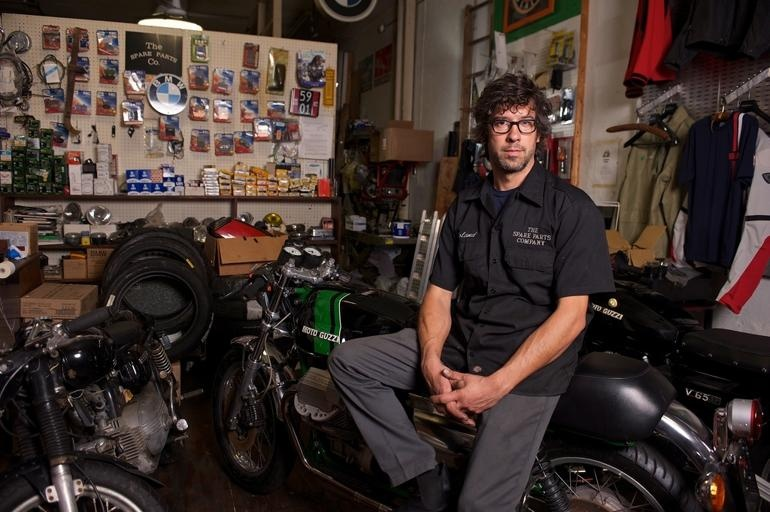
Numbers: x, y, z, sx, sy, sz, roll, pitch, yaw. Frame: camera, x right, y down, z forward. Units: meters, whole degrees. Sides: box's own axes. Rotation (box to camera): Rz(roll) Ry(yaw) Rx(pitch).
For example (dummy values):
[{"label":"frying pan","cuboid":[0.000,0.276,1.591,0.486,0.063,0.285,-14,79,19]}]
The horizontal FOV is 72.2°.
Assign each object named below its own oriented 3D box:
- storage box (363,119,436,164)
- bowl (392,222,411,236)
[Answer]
[{"label":"storage box","cuboid":[0.141,-1.371,6.686,0.611,0.425,0.573,-1,3,-25]},{"label":"bowl","cuboid":[0.184,-0.321,6.230,0.153,0.141,0.191,1,2,-1]}]
